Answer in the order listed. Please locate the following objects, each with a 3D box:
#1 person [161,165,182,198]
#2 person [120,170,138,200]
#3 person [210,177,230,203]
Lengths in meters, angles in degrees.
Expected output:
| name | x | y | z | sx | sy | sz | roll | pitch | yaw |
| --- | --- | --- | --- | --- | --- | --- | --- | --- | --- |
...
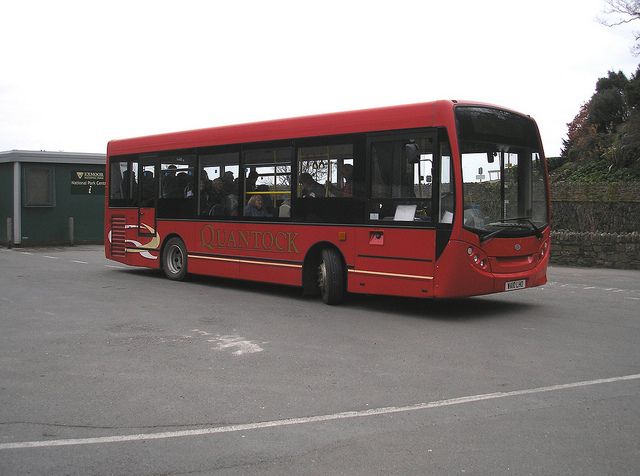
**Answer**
| name | x | y | z | sx | sy | sz | roll | pitch | yaw |
| --- | --- | --- | --- | --- | --- | --- | --- | --- | --- |
| person | -4.079 | -1.490 | 12.996 | 0.479 | 1.004 | 0.262 | -2 | 2 | 34 |
| person | -5.721 | -1.604 | 14.141 | 0.526 | 0.917 | 0.199 | -2 | 1 | 15 |
| person | -2.510 | -1.208 | 12.050 | 0.407 | 0.670 | 0.937 | -2 | 11 | 13 |
